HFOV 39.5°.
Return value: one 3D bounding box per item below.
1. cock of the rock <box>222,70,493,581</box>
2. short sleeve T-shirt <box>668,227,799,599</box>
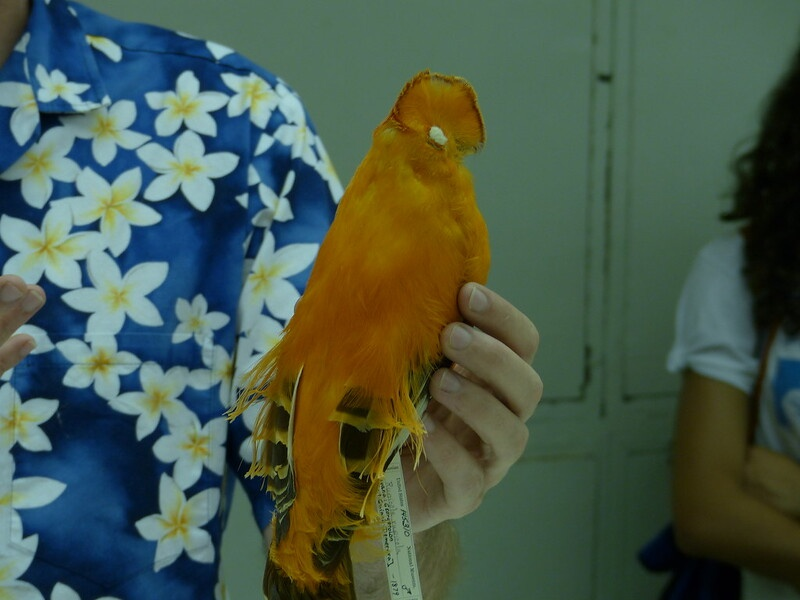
[{"bbox_3d":[-0.048,0.024,1.162,0.239,0.332,0.478,23,-48,21],"label":"cock of the rock"},{"bbox_3d":[0.448,0.153,1.403,0.258,0.386,0.128,28,-30,-33],"label":"short sleeve T-shirt"}]
